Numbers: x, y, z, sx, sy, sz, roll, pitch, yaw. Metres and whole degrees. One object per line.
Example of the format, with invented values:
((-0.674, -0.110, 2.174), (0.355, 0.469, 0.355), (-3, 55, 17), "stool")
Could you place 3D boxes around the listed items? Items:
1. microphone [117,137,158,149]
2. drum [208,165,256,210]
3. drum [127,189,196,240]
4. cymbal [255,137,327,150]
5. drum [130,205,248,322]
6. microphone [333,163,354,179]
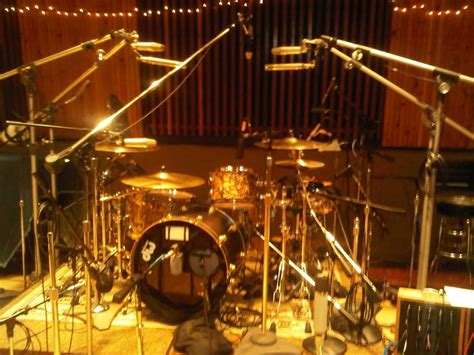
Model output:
((-0.807, -0.286, 4.193), (0.204, 0.082, 0.427), (3, 0, 32), "microphone")
((-0.048, 0.114, 4.533), (0.358, 0.275, 0.368), (1, -12, 0), "drum")
((-0.889, 0.363, 5.308), (0.427, 0.483, 0.421), (-6, 17, -38), "drum")
((0.472, -0.290, 4.387), (0.280, 0.064, 0.291), (6, 14, 26), "cymbal")
((-0.533, 0.716, 4.891), (0.863, 0.971, 0.719), (8, 20, 6), "drum")
((1.120, -0.070, 5.145), (0.170, 0.152, 0.372), (2, 0, 4), "microphone")
